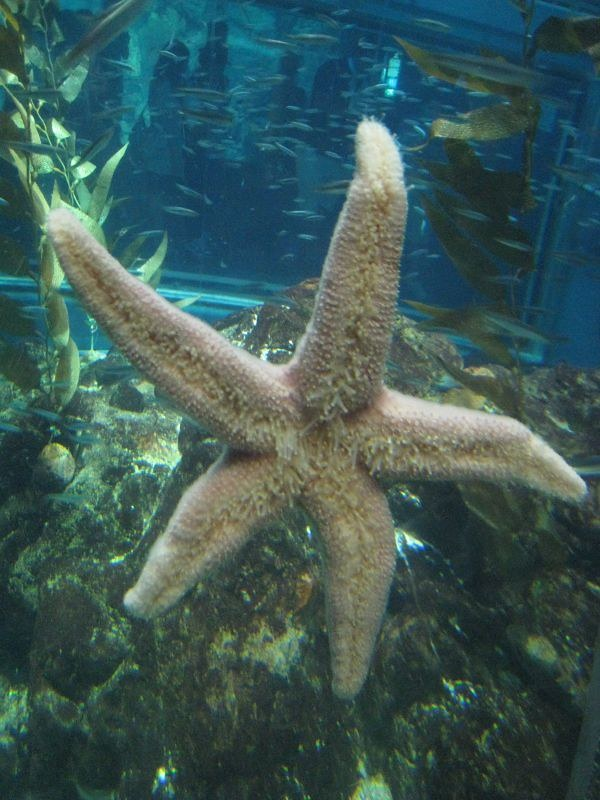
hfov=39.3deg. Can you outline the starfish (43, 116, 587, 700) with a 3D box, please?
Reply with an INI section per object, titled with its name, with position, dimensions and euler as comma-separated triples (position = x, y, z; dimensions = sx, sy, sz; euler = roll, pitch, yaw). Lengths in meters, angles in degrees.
[starfish]
position = 0.194, 0.022, 3.250
dimensions = 2.414, 2.181, 0.323
euler = 4, -7, 33
